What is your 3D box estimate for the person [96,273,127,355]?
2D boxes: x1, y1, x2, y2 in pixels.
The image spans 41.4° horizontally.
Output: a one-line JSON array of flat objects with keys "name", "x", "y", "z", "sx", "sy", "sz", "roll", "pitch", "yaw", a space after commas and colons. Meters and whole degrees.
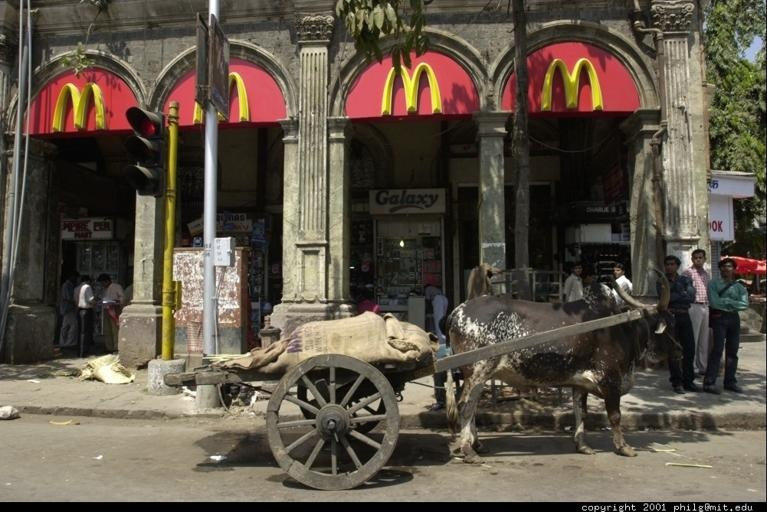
[{"name": "person", "x": -7.135, "y": 1.486, "z": 26.568, "sx": 0.659, "sy": 2.024, "sz": 0.749, "roll": 0, "pitch": -4, "yaw": 2}]

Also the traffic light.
[{"name": "traffic light", "x": -4.787, "y": -2.110, "z": 20.428, "sx": 0.782, "sy": 1.774, "sz": 0.393, "roll": 1, "pitch": -4, "yaw": -15}]

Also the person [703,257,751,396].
[{"name": "person", "x": 7.227, "y": 1.473, "z": 21.579, "sx": 0.916, "sy": 2.825, "sz": 0.509, "roll": -1, "pitch": -5, "yaw": 18}]

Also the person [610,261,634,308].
[{"name": "person", "x": 5.078, "y": 0.595, "z": 21.767, "sx": 0.278, "sy": 0.871, "sz": 0.420, "roll": 14, "pitch": -32, "yaw": -7}]

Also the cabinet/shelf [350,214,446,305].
[{"name": "cabinet/shelf", "x": 0.499, "y": 0.127, "z": 28.149, "sx": 2.367, "sy": 2.319, "sz": 0.789, "roll": 0, "pitch": -6, "yaw": 1}]
